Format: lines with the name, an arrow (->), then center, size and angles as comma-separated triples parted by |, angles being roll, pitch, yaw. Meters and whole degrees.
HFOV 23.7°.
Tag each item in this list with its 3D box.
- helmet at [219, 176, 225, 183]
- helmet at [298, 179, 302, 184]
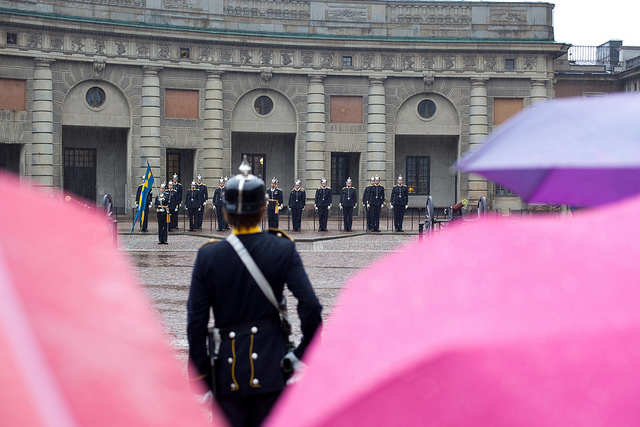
helmet -> -5.580, -1.964, 87.374 | 0.321, 0.389, 0.441 | -1, -7, 3
helmet -> -1.133, -1.871, 87.501 | 0.230, 0.154, 0.332 | 2, 12, -6
